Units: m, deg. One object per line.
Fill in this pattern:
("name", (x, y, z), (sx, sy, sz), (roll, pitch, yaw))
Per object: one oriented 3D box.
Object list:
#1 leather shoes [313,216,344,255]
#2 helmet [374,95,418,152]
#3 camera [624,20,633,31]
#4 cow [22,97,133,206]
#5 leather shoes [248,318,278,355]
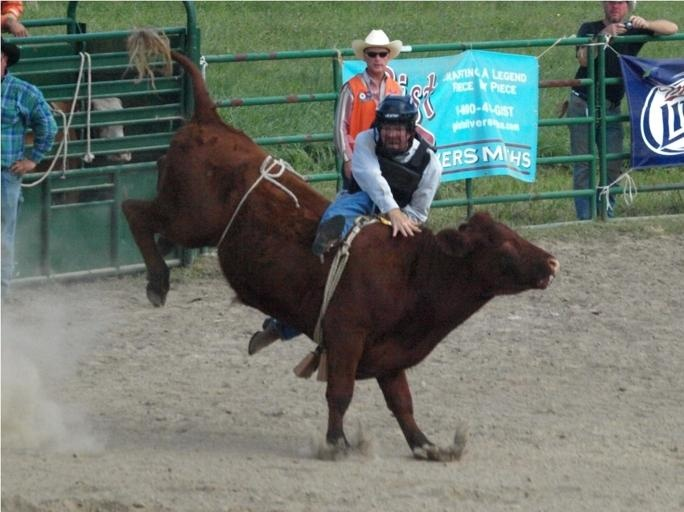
("leather shoes", (-0.095, -0.157, 10.431), (0.180, 0.343, 0.129), (36, -14, 11))
("helmet", (0.472, -1.061, 10.452), (0.305, 0.431, 0.432), (2, 18, 8))
("camera", (3.151, -2.541, 14.475), (0.081, 0.092, 0.030), (-3, 5, -17))
("cow", (-2.437, -1.080, 12.804), (0.902, 1.026, 0.255), (-6, 14, -16))
("leather shoes", (-0.682, 0.726, 11.485), (0.122, 0.379, 0.154), (41, 23, -8))
